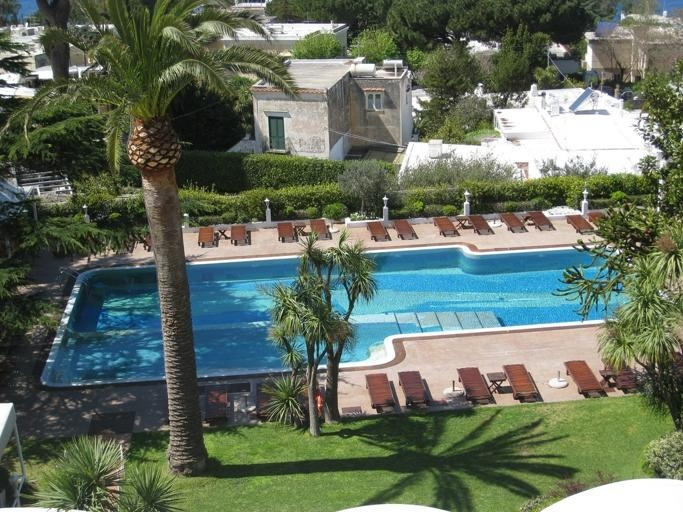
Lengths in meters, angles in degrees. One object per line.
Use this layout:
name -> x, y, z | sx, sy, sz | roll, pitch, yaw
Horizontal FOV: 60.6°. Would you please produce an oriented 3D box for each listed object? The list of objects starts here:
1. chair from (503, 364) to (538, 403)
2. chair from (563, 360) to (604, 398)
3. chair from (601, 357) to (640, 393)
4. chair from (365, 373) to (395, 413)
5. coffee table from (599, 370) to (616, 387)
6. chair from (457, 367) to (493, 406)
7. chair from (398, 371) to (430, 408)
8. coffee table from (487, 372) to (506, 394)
chair -> 5.246, 3.724, 17.326 | 0.555, 0.291, 1.227 | -6, 31, 0
chair -> 7.248, 3.900, 17.444 | 0.720, 0.437, 1.678 | -9, 35, -4
chair -> 8.164, 3.473, 17.247 | 0.981, 0.796, 1.017 | 6, 25, 15
chair -> 1.086, 3.891, 16.897 | 0.749, 0.409, 1.758 | -6, 34, -7
coffee table -> 7.905, 3.604, 17.375 | 0.383, 0.592, 0.158 | -40, 14, -27
chair -> 3.870, 3.854, 17.399 | 0.571, 0.293, 1.251 | -6, 34, -6
chair -> 2.102, 3.943, 17.207 | 0.685, 0.542, 1.141 | -5, 24, -8
coffee table -> 4.649, 3.799, 17.722 | 0.559, 0.525, 0.552 | 0, 29, 5
